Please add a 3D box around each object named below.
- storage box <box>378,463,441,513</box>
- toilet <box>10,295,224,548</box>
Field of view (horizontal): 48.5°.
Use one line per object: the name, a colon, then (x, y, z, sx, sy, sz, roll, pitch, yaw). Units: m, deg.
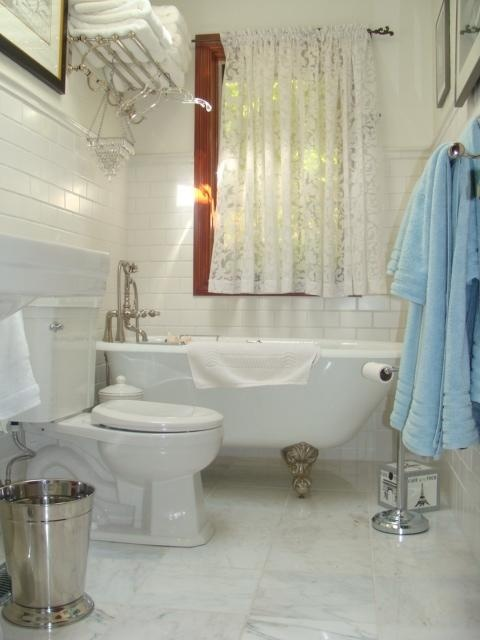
storage box: (0.714, 0.699, 2.219, 0.235, 0.189, 0.209, 0, -2, -11)
toilet: (-0.409, 0.368, 2.001, 0.749, 0.809, 0.425, 4, 2, 1)
